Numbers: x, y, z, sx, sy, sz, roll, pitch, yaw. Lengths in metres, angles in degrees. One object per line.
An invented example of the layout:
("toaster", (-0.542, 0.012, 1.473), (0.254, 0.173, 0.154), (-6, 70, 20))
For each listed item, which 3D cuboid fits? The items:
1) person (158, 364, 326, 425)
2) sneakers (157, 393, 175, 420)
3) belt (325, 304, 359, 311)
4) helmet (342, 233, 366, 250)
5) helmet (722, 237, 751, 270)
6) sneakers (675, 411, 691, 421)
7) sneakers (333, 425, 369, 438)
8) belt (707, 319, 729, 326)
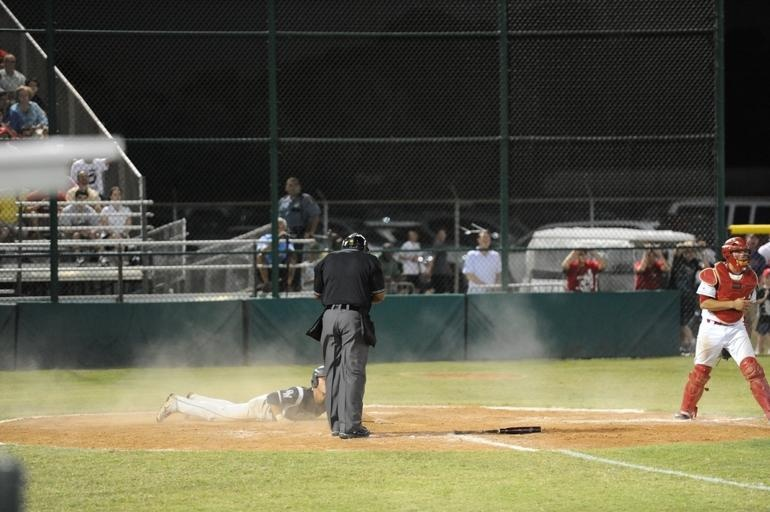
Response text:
("person", (-2.403, 2.518, 30.088), (2.458, 0.944, 1.247), (-1, -4, 2))
("sneakers", (-3.843, 2.623, 29.790), (0.288, 0.468, 0.134), (22, 3, -11))
("belt", (-0.754, 0.836, 29.164), (0.565, 0.115, 0.137), (1, -3, 2))
("helmet", (-0.543, -0.293, 29.515), (0.286, 0.354, 0.348), (5, 9, 34))
("helmet", (6.191, -0.093, 30.197), (0.467, 0.549, 0.545), (4, -3, -41))
("sneakers", (5.225, 2.812, 30.053), (0.269, 0.114, 0.126), (-1, 2, -33))
("sneakers", (-0.595, 2.950, 29.030), (0.515, 0.245, 0.235), (-3, 4, -18))
("belt", (5.798, 1.138, 29.883), (0.181, 0.047, 0.131), (20, -3, -13))
